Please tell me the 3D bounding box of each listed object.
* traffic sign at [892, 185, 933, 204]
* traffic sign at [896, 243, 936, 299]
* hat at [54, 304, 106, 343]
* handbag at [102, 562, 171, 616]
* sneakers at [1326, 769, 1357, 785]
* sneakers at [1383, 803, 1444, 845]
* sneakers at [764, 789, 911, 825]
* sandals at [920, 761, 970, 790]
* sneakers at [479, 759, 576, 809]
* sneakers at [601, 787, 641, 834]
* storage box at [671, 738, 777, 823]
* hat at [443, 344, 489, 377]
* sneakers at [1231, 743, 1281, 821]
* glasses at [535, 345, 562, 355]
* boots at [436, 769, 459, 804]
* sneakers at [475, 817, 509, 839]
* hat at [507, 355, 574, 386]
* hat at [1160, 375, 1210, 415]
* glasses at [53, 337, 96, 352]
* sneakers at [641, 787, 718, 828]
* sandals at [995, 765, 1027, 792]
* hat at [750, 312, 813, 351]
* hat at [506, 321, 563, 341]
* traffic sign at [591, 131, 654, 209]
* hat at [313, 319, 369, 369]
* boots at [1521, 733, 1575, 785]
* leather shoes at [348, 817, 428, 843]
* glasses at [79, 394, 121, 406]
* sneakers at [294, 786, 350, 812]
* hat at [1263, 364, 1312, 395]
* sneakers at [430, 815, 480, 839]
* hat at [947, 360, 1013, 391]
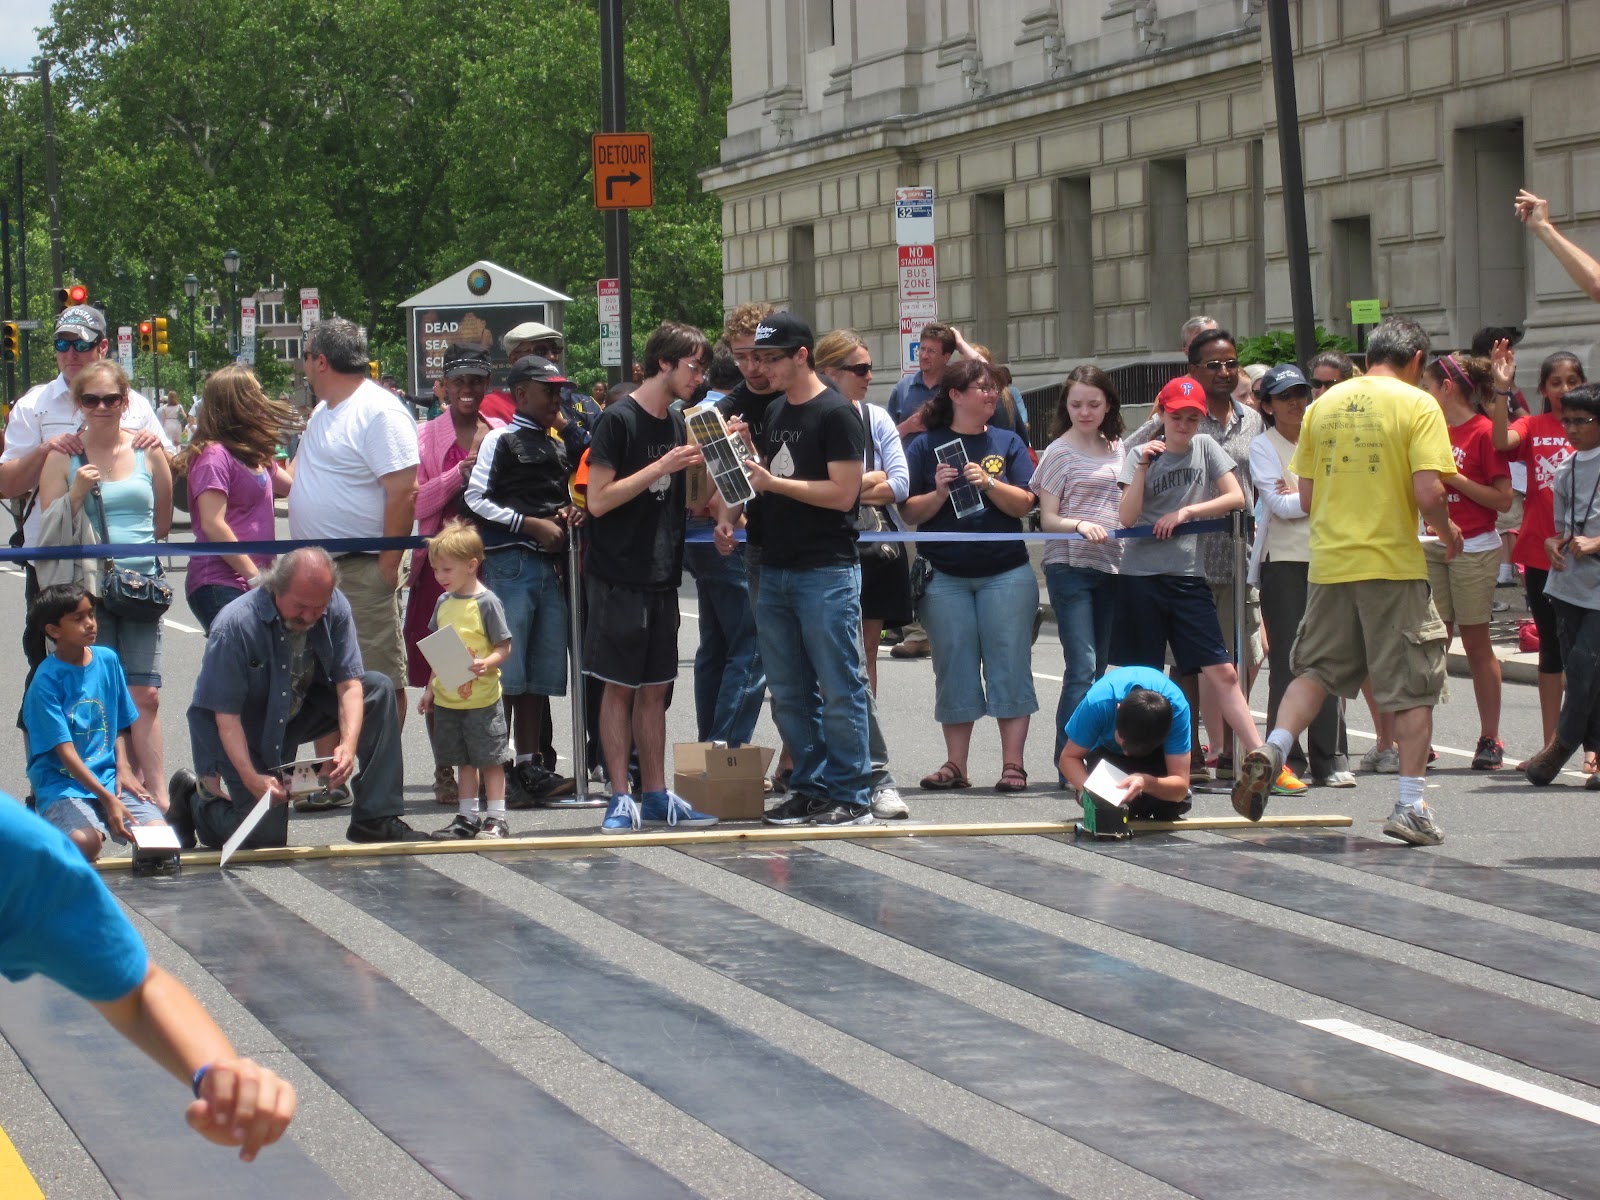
[{"bbox_3d":[0.898,-3.106,18.054,0.219,0.161,0.493,2,6,18],"label":"traffic sign"},{"bbox_3d":[0.890,-2.499,17.956,0.247,0.439,0.210,-1,6,-7],"label":"traffic sign"},{"bbox_3d":[-3.348,-1.291,10.960,0.192,0.139,0.283,1,-3,3],"label":"hat"},{"bbox_3d":[-2.927,-0.045,10.358,0.124,0.201,0.223,-17,-14,41],"label":"handbag"},{"bbox_3d":[2.678,0.889,11.734,0.077,0.060,0.151,-1,-8,8],"label":"sneakers"},{"bbox_3d":[2.572,0.961,10.011,0.291,0.133,0.126,2,5,-30],"label":"sneakers"},{"bbox_3d":[0.138,0.937,10.438,0.667,0.245,0.220,3,-3,7],"label":"sneakers"},{"bbox_3d":[0.709,0.869,11.592,0.230,0.138,0.272,0,6,5],"label":"sandals"},{"bbox_3d":[-1.303,0.883,11.321,0.405,0.172,0.151,0,6,4],"label":"sneakers"},{"bbox_3d":[-0.780,0.921,10.275,0.153,0.167,0.187,0,6,0],"label":"sneakers"},{"bbox_3d":[-0.275,0.855,10.844,0.388,0.306,0.454,-2,-4,7],"label":"storage box"},{"bbox_3d":[-1.653,-1.182,11.628,0.208,0.155,0.308,-1,6,-8],"label":"hat"},{"bbox_3d":[1.939,0.792,10.121,0.146,0.325,0.142,22,43,23],"label":"sneakers"},{"bbox_3d":[-1.341,-1.352,12.743,0.116,0.041,0.106,-3,8,-12],"label":"glasses"},{"bbox_3d":[-1.671,0.875,11.129,0.096,0.214,0.387,-1,6,-8],"label":"boots"},{"bbox_3d":[-1.315,0.982,10.069,0.132,0.073,0.298,-1,6,-7],"label":"sneakers"},{"bbox_3d":[-1.237,-1.069,11.004,0.221,0.095,0.151,3,2,7],"label":"hat"},{"bbox_3d":[1.802,-0.985,11.159,0.159,0.127,0.227,4,4,-1],"label":"hat"},{"bbox_3d":[-3.327,-1.184,10.838,0.179,0.064,0.177,-2,6,-17],"label":"glasses"},{"bbox_3d":[-0.508,0.940,10.568,0.398,0.162,0.129,1,2,-14],"label":"sneakers"},{"bbox_3d":[1.027,0.869,11.461,0.152,0.133,0.228,1,6,6],"label":"sandals"},{"bbox_3d":[-0.080,-1.162,10.160,0.239,0.165,0.324,0,6,2],"label":"hat"},{"bbox_3d":[-1.463,-1.412,12.421,0.295,0.089,0.275,0,3,43],"label":"hat"},{"bbox_3d":[-1.530,-3.745,20.307,0.492,0.689,0.890,-1,6,-5],"label":"traffic sign"},{"bbox_3d":[-2.151,-1.192,10.967,0.214,0.241,0.248,0,-2,-35],"label":"hat"},{"bbox_3d":[3.712,0.804,11.766,0.225,0.268,0.470,2,6,16],"label":"boots"},{"bbox_3d":[-1.753,0.981,9.984,0.352,0.129,0.115,1,1,-5],"label":"leather shoes"},{"bbox_3d":[-3.093,-0.887,10.431,0.174,0.057,0.108,-2,6,-16],"label":"glasses"},{"bbox_3d":[-2.245,0.920,11.073,0.247,0.099,0.322,-1,6,-11],"label":"sneakers"},{"bbox_3d":[2.381,-1.096,11.757,0.155,0.102,0.203,-3,-3,-11],"label":"hat"},{"bbox_3d":[-1.472,0.982,10.091,0.211,0.086,0.075,-1,0,4],"label":"sneakers"},{"bbox_3d":[0.830,-1.110,11.511,0.275,0.210,0.214,2,8,27],"label":"hat"}]
